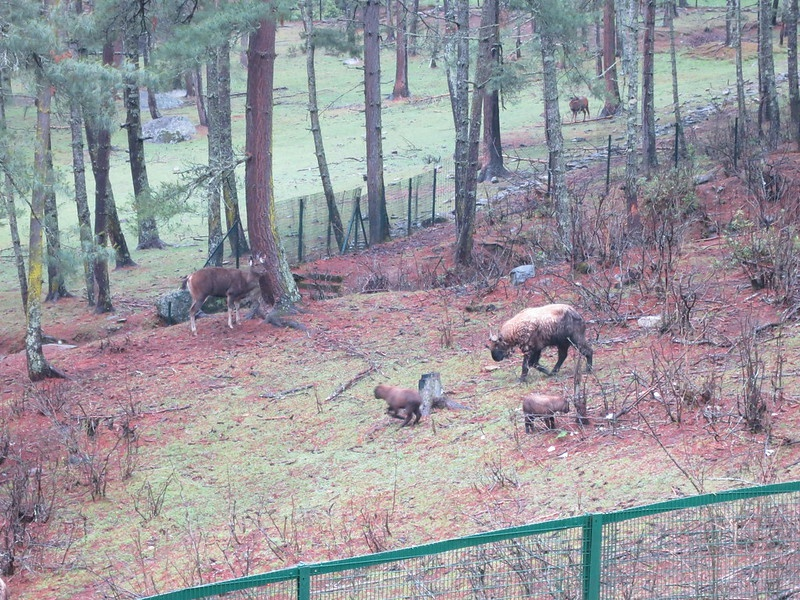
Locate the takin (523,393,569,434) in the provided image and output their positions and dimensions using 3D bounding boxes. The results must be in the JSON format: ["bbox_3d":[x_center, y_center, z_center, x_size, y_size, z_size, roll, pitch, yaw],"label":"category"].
[{"bbox_3d":[3.557,2.677,43.843,1.234,0.917,0.438,0,21,26],"label":"takin"}]
